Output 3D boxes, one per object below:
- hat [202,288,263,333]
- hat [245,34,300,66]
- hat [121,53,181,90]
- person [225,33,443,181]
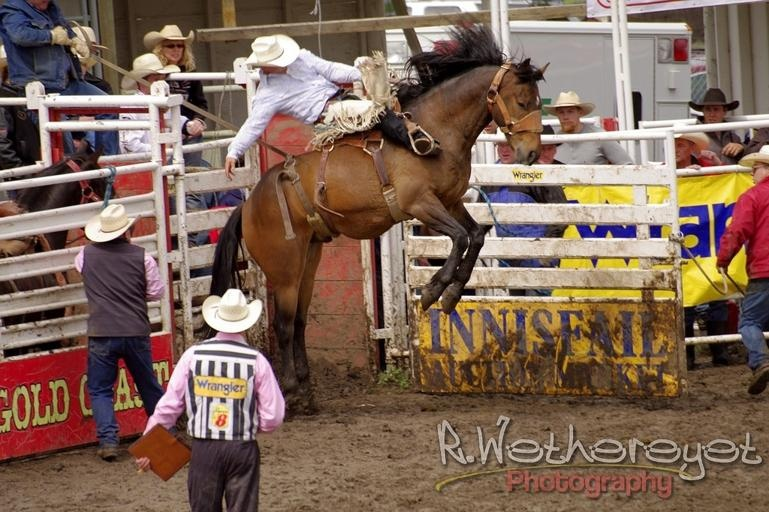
[{"bbox_3d":[-1.168,0.372,8.026,0.468,0.169,0.450,3,30,-2],"label":"hat"},{"bbox_3d":[-1.092,-2.031,10.285,0.559,0.216,0.603,-12,6,25],"label":"hat"},{"bbox_3d":[-2.860,-2.189,12.303,0.480,0.234,0.612,-23,0,-27],"label":"hat"},{"bbox_3d":[-0.345,-1.580,10.318,2.143,1.036,1.443,3,28,11],"label":"person"}]
